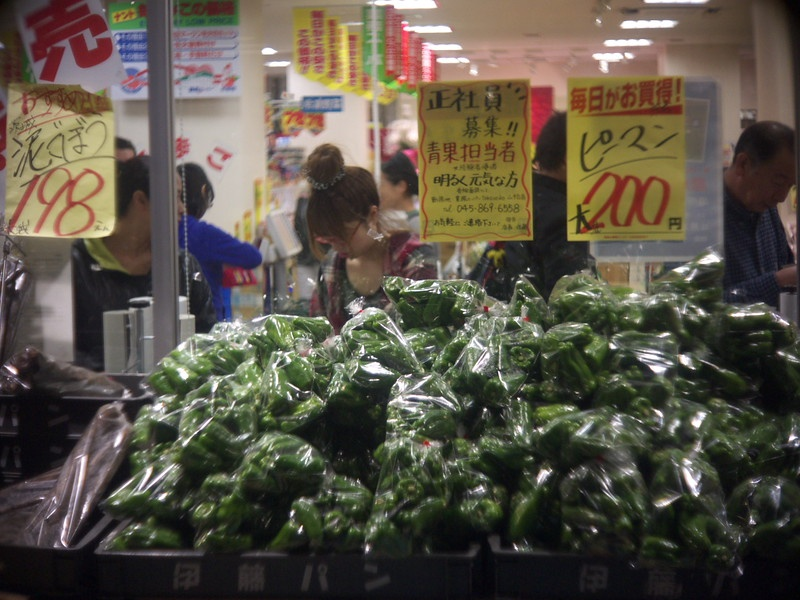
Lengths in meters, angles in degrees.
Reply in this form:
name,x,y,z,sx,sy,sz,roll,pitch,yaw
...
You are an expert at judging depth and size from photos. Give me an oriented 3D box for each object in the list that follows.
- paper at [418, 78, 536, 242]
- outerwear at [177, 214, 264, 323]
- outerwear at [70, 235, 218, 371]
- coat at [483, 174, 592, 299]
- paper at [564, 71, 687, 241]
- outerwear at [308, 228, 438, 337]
name,x,y,z,sx,sy,sz,roll,pitch,yaw
paper,0.295,-0.512,2.581,0.516,0.784,0.037,-1,5,5
outerwear,-0.763,-0.188,3.023,0.319,0.540,0.337,-15,19,-22
outerwear,-1.121,-0.027,3.226,0.492,0.812,0.565,-2,6,-8
coat,0.510,-0.247,2.580,0.383,0.305,0.219,1,9,37
paper,0.825,-0.529,2.544,0.530,0.816,0.008,1,0,3
outerwear,-0.080,-0.117,3.039,0.572,0.560,0.353,-6,9,7
